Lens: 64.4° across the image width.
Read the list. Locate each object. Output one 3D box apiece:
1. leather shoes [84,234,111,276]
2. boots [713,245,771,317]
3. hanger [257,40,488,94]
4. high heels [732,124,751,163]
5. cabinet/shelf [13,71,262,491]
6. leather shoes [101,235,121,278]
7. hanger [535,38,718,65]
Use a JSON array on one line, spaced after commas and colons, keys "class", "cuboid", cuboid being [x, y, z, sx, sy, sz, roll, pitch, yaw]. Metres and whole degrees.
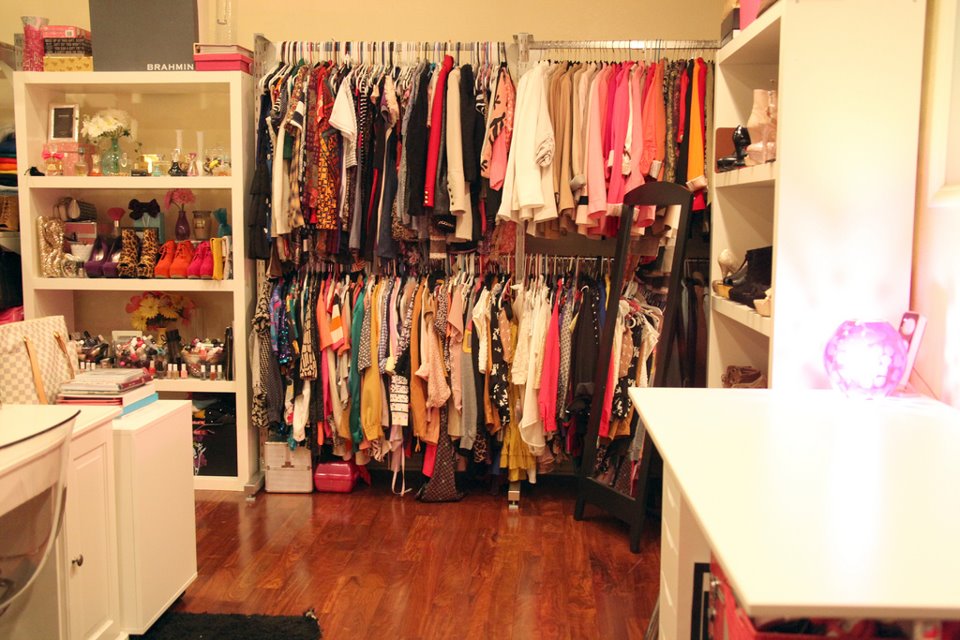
[{"class": "leather shoes", "cuboid": [-2.221, -0.375, 4.475, 0.097, 0.317, 0.122, -9, -32, 9]}, {"class": "boots", "cuboid": [1.158, -0.184, 3.415, 0.125, 0.183, 0.424, 0, 6, -8]}, {"class": "hanger", "cuboid": [-0.535, -1.484, 4.325, 1.357, 0.247, 0.552, 2, 15, 6]}, {"class": "high heels", "cuboid": [1.162, -0.786, 3.374, 0.056, 0.181, 0.067, 5, 7, 25]}, {"class": "cabinet/shelf", "cuboid": [-1.900, -0.282, 4.557, 1.455, 2.304, 0.863, 4, 14, 13]}, {"class": "leather shoes", "cuboid": [-2.133, -0.362, 4.407, 0.085, 0.295, 0.112, -1, -21, -10]}, {"class": "hanger", "cuboid": [0.800, -1.525, 4.273, 1.051, 0.128, 0.506, 2, 15, 5]}]
